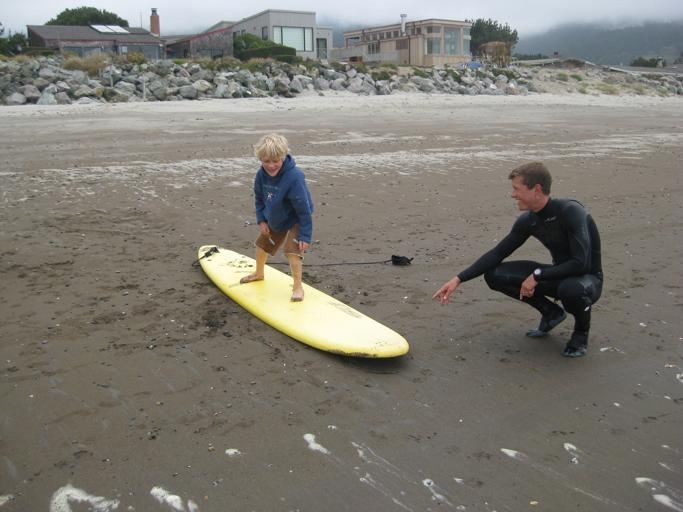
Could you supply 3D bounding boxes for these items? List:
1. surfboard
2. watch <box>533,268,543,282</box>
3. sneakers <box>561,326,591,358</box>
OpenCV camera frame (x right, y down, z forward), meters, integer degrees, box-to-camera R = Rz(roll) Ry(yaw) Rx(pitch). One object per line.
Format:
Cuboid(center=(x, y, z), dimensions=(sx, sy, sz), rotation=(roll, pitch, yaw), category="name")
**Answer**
Cuboid(center=(-0.535, 0.409, 5.252), dimensions=(0.713, 0.166, 2.443), rotation=(-17, 26, -41), category="surfboard")
Cuboid(center=(1.475, 0.138, 4.473), dimensions=(0.070, 0.085, 0.089), rotation=(3, 51, 31), category="watch")
Cuboid(center=(1.779, 0.677, 4.520), dimensions=(0.130, 0.111, 0.318), rotation=(4, 5, 37), category="sneakers")
